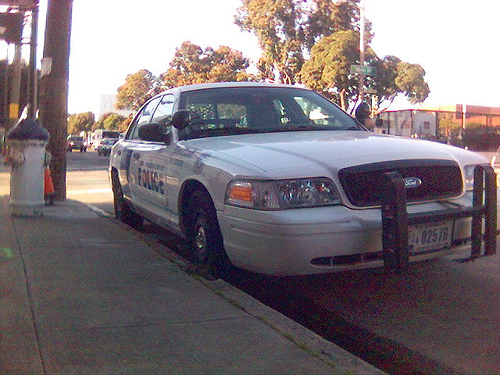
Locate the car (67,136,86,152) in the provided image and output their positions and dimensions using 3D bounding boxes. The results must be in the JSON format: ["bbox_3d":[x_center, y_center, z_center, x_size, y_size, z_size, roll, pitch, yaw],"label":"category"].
[{"bbox_3d":[-28.385,-7.182,63.292,3.370,2.516,1.795,6,5,39],"label":"car"}]

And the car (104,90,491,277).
[{"bbox_3d":[0.296,-0.257,4.156,1.923,1.838,3.814,0,5,-43],"label":"car"}]

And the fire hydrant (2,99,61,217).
[{"bbox_3d":[-3.686,-0.331,6.408,0.625,1.612,0.374,1,4,-25],"label":"fire hydrant"}]

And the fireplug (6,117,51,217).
[{"bbox_3d":[-3.686,-0.334,6.418,0.621,1.612,0.396,1,4,-26],"label":"fireplug"}]
